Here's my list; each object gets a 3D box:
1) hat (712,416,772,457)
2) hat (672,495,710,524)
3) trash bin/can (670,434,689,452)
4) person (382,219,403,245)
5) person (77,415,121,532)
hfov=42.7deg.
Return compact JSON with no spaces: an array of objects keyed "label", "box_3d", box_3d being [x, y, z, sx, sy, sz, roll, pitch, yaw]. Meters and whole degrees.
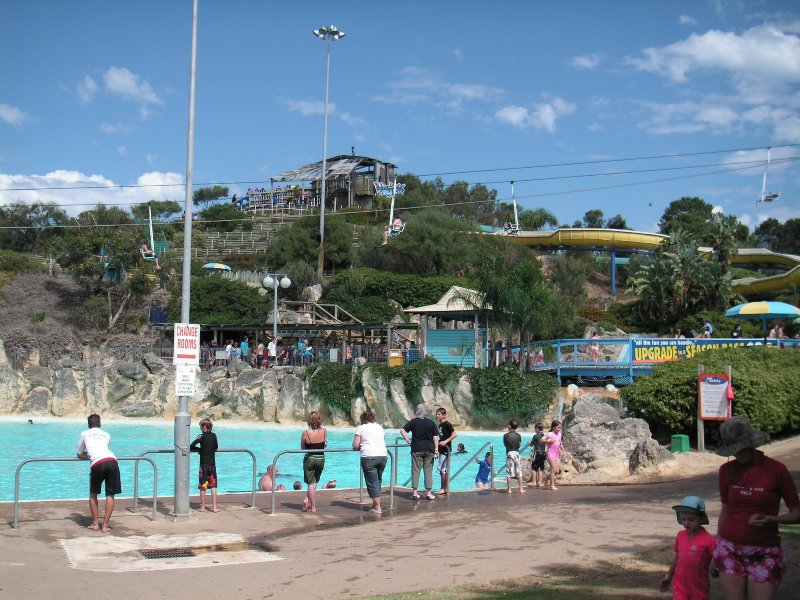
[{"label":"hat","box_3d":[6.126,2.553,18.585,0.723,0.422,0.746,-27,-1,-31]},{"label":"hat","box_3d":[5.386,3.877,18.676,0.535,0.399,0.708,4,-2,32]},{"label":"trash bin/can","box_3d":[8.697,4.428,31.631,0.480,0.502,0.493,1,-2,-29]},{"label":"person","box_3d":[-0.540,-4.710,69.546,1.209,1.860,0.737,9,7,-14]},{"label":"person","box_3d":[-7.008,4.005,23.781,0.915,2.655,1.163,0,-4,-18]}]
